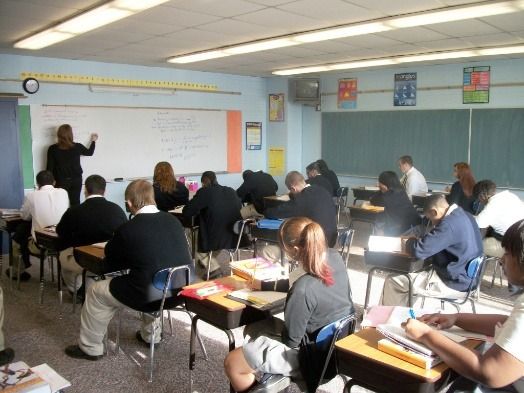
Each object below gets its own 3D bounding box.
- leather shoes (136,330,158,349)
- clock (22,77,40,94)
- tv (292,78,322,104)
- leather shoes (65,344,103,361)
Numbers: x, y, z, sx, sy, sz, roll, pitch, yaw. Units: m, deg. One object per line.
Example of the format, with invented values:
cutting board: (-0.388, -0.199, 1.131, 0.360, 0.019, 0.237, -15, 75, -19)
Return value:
leather shoes: (-1.105, 1.378, 3.564, 0.107, 0.124, 0.286, -6, 26, -40)
clock: (-3.843, -1.833, 6.152, 0.257, 0.273, 0.147, -8, 13, -37)
tv: (1.083, -2.553, 9.017, 0.654, 0.565, 0.753, 1, 10, 5)
leather shoes: (-1.583, 1.395, 3.295, 0.248, 0.107, 0.092, 16, 8, 26)
